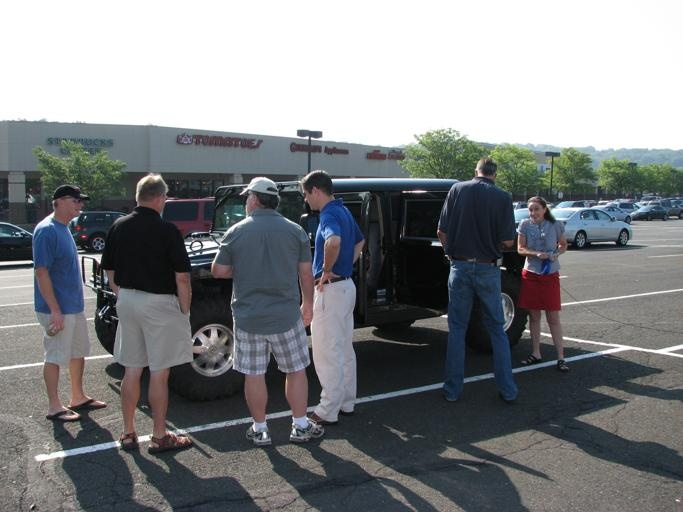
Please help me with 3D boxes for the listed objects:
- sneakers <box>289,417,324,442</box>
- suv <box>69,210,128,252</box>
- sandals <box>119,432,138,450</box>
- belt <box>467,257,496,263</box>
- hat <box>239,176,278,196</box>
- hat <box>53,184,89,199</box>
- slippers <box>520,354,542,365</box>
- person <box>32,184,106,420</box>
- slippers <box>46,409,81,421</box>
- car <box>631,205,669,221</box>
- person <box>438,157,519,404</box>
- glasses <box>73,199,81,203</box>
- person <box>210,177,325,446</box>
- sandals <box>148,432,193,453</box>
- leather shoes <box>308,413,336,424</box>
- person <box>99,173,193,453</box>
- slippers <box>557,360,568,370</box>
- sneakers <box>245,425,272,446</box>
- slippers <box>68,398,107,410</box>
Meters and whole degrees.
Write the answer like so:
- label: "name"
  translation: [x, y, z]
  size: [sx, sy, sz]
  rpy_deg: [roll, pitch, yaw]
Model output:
- label: "sneakers"
  translation: [-0.306, 1.539, 5.351]
  size: [0.330, 0.158, 0.137]
  rpy_deg: [-5, 6, -42]
- label: "suv"
  translation: [-6.352, -0.643, 15.262]
  size: [2.034, 0.977, 1.114]
  rpy_deg: [-8, 11, -30]
- label: "sandals"
  translation: [-1.808, 1.571, 5.067]
  size: [0.082, 0.086, 0.211]
  rpy_deg: [1, 4, -12]
- label: "belt"
  translation: [1.459, 0.043, 6.146]
  size: [0.301, 0.068, 0.065]
  rpy_deg: [-2, 8, -15]
- label: "hat"
  translation: [-0.707, -0.601, 5.178]
  size: [0.252, 0.136, 0.191]
  rpy_deg: [2, 8, 13]
- label: "hat"
  translation: [-2.597, -0.591, 5.728]
  size: [0.264, 0.131, 0.180]
  rpy_deg: [-2, 6, -21]
- label: "slippers"
  translation: [2.361, 1.281, 7.389]
  size: [0.302, 0.114, 0.110]
  rpy_deg: [1, -1, -23]
- label: "person"
  translation: [-2.625, 0.429, 5.701]
  size: [0.574, 2.183, 0.553]
  rpy_deg: [-1, 8, -11]
- label: "slippers"
  translation: [-2.615, 1.503, 5.649]
  size: [0.236, 0.068, 0.136]
  rpy_deg: [1, 7, 9]
- label: "car"
  translation: [25.524, -3.581, 49.555]
  size: [3.071, 1.199, 1.069]
  rpy_deg: [-2, 8, -16]
- label: "person"
  translation: [1.413, 0.229, 6.214]
  size: [0.832, 2.471, 0.590]
  rpy_deg: [2, 8, 9]
- label: "glasses"
  translation: [-2.528, -0.528, 5.693]
  size: [0.033, 0.018, 0.046]
  rpy_deg: [1, -6, 1]
- label: "person"
  translation: [-0.624, 0.482, 5.175]
  size: [0.902, 2.276, 0.351]
  rpy_deg: [-2, 8, -14]
- label: "sandals"
  translation: [-1.467, 1.586, 5.157]
  size: [0.414, 0.186, 0.140]
  rpy_deg: [-3, 6, -24]
- label: "leather shoes"
  translation: [-0.187, 1.545, 5.669]
  size: [0.251, 0.104, 0.093]
  rpy_deg: [1, 5, 4]
- label: "person"
  translation: [-1.654, 0.475, 5.097]
  size: [0.715, 2.299, 0.499]
  rpy_deg: [-1, 8, -12]
- label: "slippers"
  translation: [2.629, 1.282, 7.087]
  size: [0.130, 0.113, 0.183]
  rpy_deg: [4, 9, 21]
- label: "sneakers"
  translation: [-0.713, 1.560, 5.169]
  size: [0.104, 0.119, 0.254]
  rpy_deg: [0, 7, -31]
- label: "slippers"
  translation: [-2.518, 1.468, 5.911]
  size: [0.331, 0.105, 0.127]
  rpy_deg: [-3, 7, -15]
